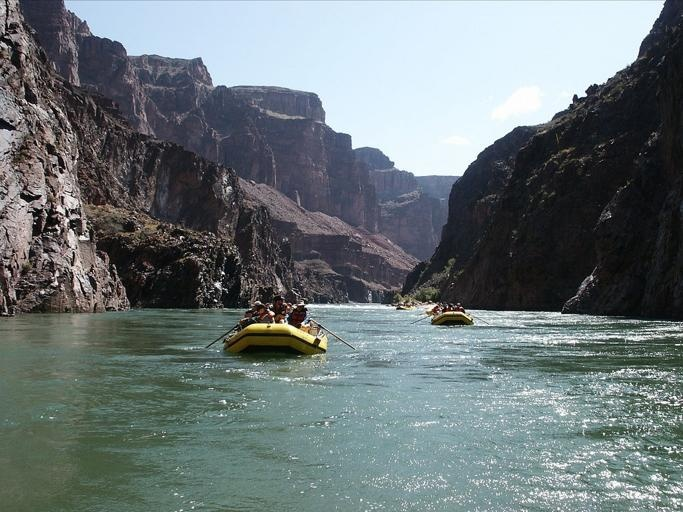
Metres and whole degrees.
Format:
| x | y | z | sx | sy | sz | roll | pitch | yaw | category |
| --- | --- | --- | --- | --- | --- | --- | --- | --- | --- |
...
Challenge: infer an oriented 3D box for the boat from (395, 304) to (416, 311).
| x | y | z | sx | sy | sz | roll | pitch | yaw | category |
| --- | --- | --- | --- | --- | --- | --- | --- | --- | --- |
| 12.546 | 10.496 | 116.834 | 1.541 | 1.076 | 5.274 | -3 | -9 | 14 | boat |

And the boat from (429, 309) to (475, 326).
| x | y | z | sx | sy | sz | roll | pitch | yaw | category |
| --- | --- | --- | --- | --- | --- | --- | --- | --- | --- |
| 8.954 | 5.200 | 48.477 | 2.077 | 0.848 | 3.837 | 1 | -3 | 3 | boat |
